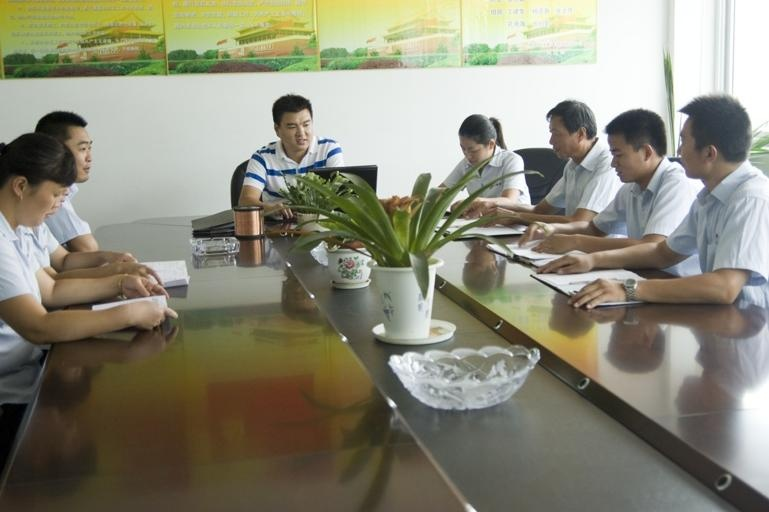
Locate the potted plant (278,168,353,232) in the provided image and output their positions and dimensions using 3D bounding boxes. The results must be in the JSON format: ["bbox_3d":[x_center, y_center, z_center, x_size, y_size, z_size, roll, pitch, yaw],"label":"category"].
[{"bbox_3d":[-0.424,-0.242,2.680,0.324,0.248,0.369,8,-2,43],"label":"potted plant"}]

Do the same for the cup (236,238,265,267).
[{"bbox_3d":[-0.607,-0.015,2.427,0.155,0.161,0.152,2,7,0],"label":"cup"}]

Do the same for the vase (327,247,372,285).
[{"bbox_3d":[-0.129,0.042,1.937,0.178,0.134,0.176,1,0,45],"label":"vase"}]

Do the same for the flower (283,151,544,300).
[{"bbox_3d":[0.139,-0.137,2.179,0.814,0.353,0.819,-12,-13,13],"label":"flower"}]

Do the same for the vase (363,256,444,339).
[{"bbox_3d":[0.069,0.127,1.471,0.208,0.179,0.209,-4,-2,22],"label":"vase"}]

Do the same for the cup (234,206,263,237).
[{"bbox_3d":[-0.700,-0.175,2.751,0.160,0.169,0.157,0,1,0],"label":"cup"}]

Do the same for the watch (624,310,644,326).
[{"bbox_3d":[0.729,0.181,1.580,0.038,0.057,0.053,3,10,8],"label":"watch"}]

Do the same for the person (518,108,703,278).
[{"bbox_3d":[1.027,-0.303,2.770,0.969,0.892,0.744,-1,4,-8],"label":"person"}]

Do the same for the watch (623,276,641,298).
[{"bbox_3d":[0.778,0.098,1.706,0.041,0.060,0.062,-4,25,11],"label":"watch"}]
